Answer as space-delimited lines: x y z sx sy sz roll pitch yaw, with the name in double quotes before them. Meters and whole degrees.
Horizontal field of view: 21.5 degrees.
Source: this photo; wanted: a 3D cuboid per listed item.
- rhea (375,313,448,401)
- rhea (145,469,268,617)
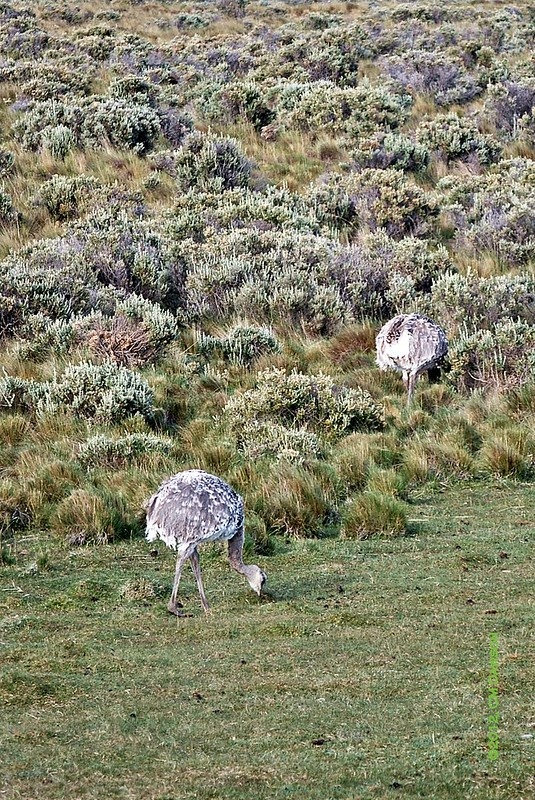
"rhea" 1.347 -0.413 13.165 0.600 1.057 1.183 1 -1 23
"rhea" -0.378 0.877 8.469 0.644 0.821 0.478 -14 22 -26
